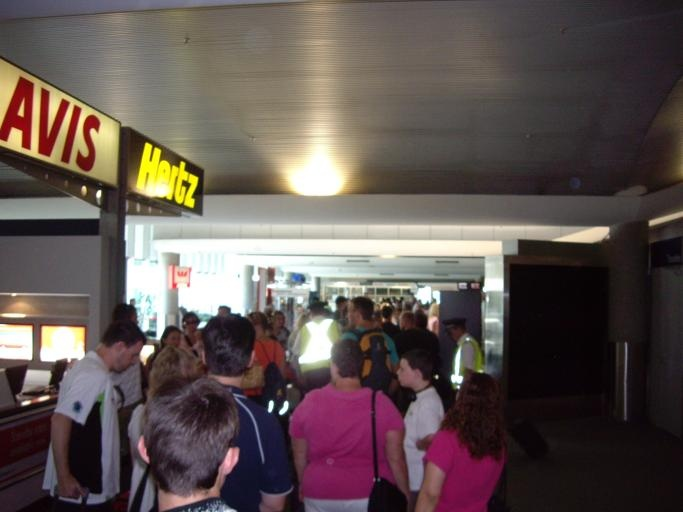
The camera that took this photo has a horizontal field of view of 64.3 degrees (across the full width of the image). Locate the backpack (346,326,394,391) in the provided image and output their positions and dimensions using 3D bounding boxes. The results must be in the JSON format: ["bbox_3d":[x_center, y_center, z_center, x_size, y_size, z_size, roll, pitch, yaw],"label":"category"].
[{"bbox_3d":[0.337,1.275,6.281,0.555,0.866,0.459,7,-11,-35],"label":"backpack"}]

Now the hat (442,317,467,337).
[{"bbox_3d":[1.435,0.901,6.995,0.265,0.271,0.268,-36,-17,21],"label":"hat"}]

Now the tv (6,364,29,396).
[{"bbox_3d":[-3.403,1.313,5.771,0.259,0.292,0.267,2,-9,-27],"label":"tv"}]

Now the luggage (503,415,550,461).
[{"bbox_3d":[2.344,2.393,7.199,0.337,0.577,0.350,15,-14,-18],"label":"luggage"}]
